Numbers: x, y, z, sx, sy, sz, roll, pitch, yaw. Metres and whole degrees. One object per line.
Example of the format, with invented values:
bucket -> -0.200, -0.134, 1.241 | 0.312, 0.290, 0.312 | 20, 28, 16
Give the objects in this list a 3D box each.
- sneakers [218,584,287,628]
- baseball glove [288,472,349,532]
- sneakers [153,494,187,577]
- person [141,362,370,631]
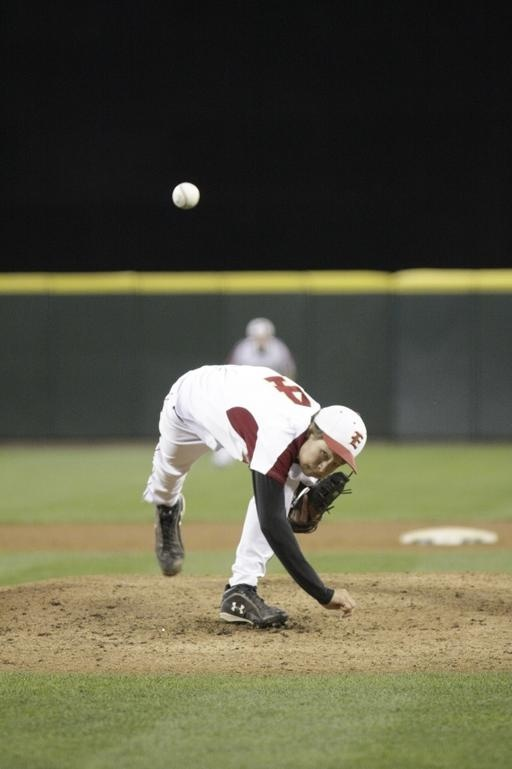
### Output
sneakers -> -0.023, 0.824, 4.042 | 0.316, 0.143, 0.110 | 5, 3, 19
baseball glove -> 0.240, 0.410, 4.033 | 0.174, 0.282, 0.075 | 31, 34, -2
sneakers -> -0.372, 0.662, 4.699 | 0.118, 0.343, 0.158 | -3, 6, 11
person -> -0.016, 0.382, 4.138 | 0.655, 0.855, 1.411 | 0, 9, -35
